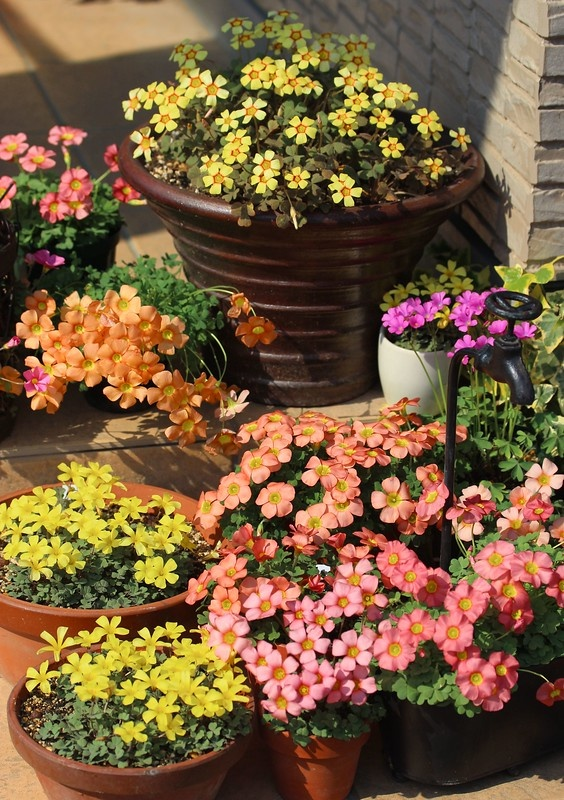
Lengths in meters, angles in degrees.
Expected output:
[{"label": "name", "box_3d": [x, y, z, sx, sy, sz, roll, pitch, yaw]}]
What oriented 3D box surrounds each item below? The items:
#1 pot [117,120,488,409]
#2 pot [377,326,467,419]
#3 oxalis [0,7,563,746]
[{"label": "pot", "box_3d": [0.026, -0.288, 1.927, 0.856, 0.524, 0.730, -4, 32, -5]}, {"label": "pot", "box_3d": [0.342, -0.057, 2.012, 0.205, 0.211, 0.213, 1, 33, -1]}, {"label": "oxalis", "box_3d": [0.191, -0.027, 1.353, 1.037, 0.222, 0.888, 10, 43, 10]}]
